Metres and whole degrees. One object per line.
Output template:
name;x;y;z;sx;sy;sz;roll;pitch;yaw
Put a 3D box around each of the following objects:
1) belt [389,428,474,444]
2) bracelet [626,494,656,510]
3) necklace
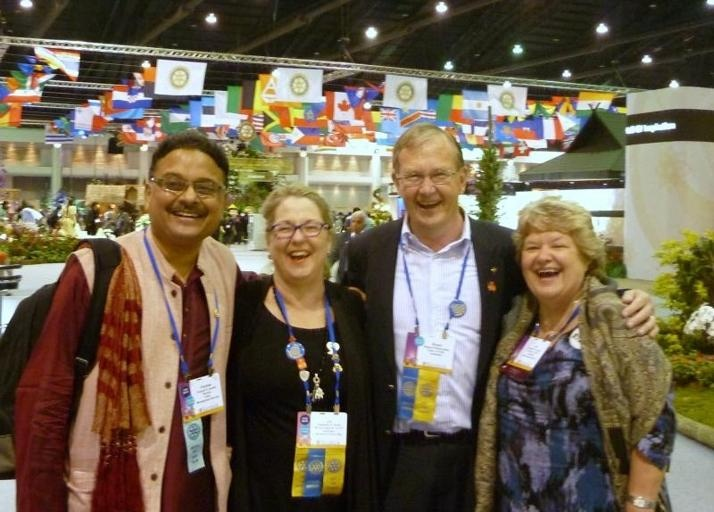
belt;0.410;0.940;2.960;0.353;0.068;0.036;1;3;0
bracelet;1.248;1.070;2.485;0.087;0.031;0.081;3;-2;-28
necklace;-0.314;0.413;2.761;0.142;0.651;0.059;-7;-36;-33
